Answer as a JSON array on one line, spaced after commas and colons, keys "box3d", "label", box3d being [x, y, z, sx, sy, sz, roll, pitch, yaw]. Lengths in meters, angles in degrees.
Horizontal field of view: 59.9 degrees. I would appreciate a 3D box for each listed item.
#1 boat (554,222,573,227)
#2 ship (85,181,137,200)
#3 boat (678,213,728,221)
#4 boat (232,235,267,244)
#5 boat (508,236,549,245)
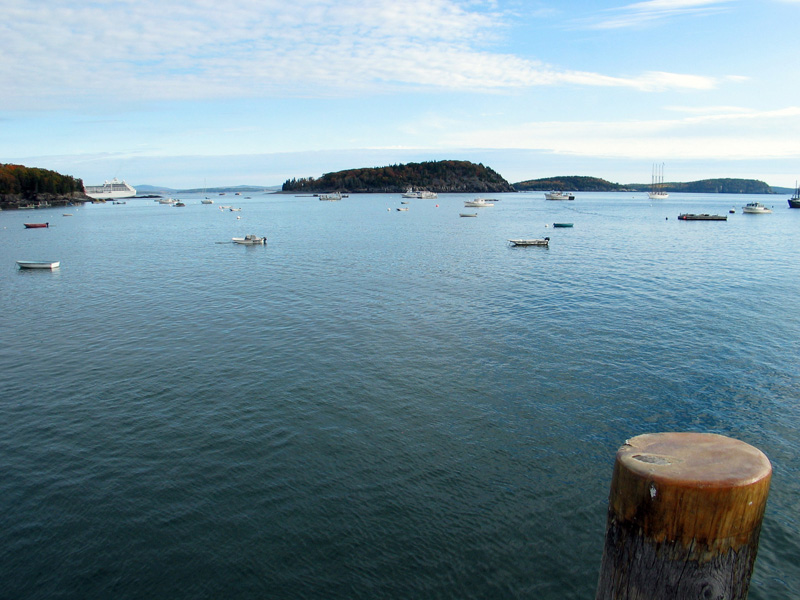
[{"box3d": [27.156, -12.576, 115.470, 2.559, 0.727, 5.483, 4, 12, 20], "label": "boat"}, {"box3d": [-121.466, -45.867, 291.231, 17.265, 7.574, 48.812, -5, 12, -21], "label": "ship"}, {"box3d": [57.716, -15.881, 133.543, 8.153, 1.008, 5.322, 1, 11, 7], "label": "boat"}, {"box3d": [-18.554, -7.507, 85.940, 3.747, 0.982, 5.065, -4, 12, -20], "label": "boat"}, {"box3d": [15.686, -7.246, 84.102, 4.254, 1.030, 5.532, 2, 11, 12], "label": "boat"}]
